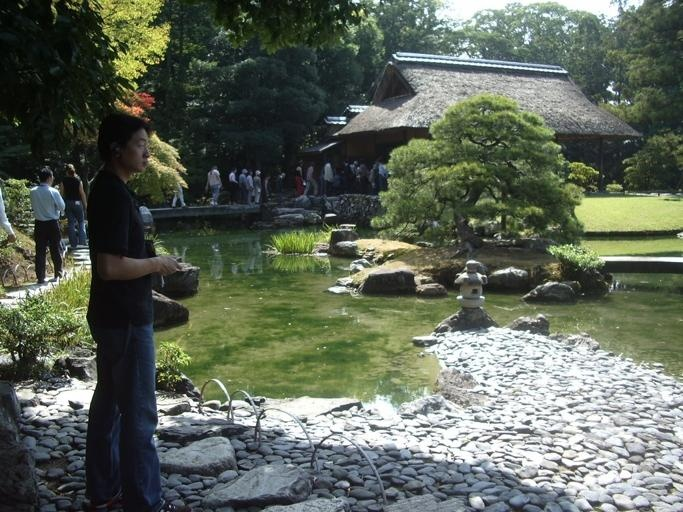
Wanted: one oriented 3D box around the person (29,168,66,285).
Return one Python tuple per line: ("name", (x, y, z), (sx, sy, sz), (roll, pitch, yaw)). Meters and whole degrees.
("person", (-4.467, -0.491, 10.094), (0.437, 1.754, 0.656), (-2, 5, -23))
